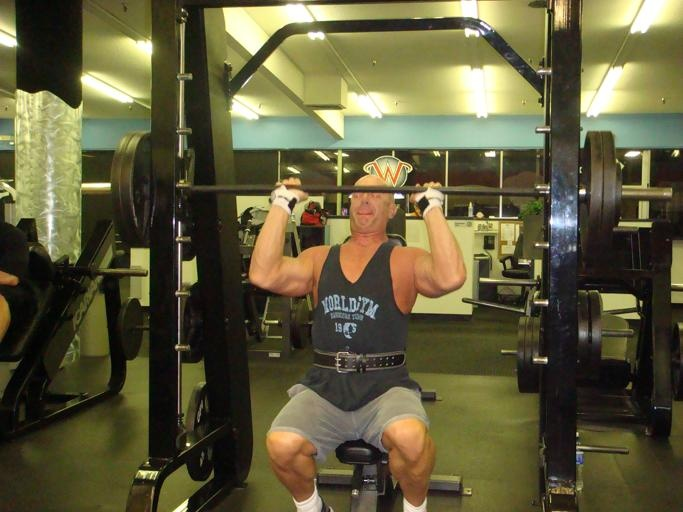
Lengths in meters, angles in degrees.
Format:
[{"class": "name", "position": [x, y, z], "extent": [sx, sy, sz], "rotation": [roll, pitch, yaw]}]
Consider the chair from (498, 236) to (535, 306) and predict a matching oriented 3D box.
[{"class": "chair", "position": [1.929, 0.169, 6.812], "extent": [0.357, 0.891, 0.375], "rotation": [2, 7, 0]}]

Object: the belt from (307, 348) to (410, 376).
[{"class": "belt", "position": [0.071, 0.430, 2.530], "extent": [0.373, 0.085, 0.098], "rotation": [1, 2, 1]}]

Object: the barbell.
[{"class": "barbell", "position": [0.178, -0.275, 2.459], "extent": [2.153, 0.510, 0.365], "rotation": [1, 2, 1]}]
